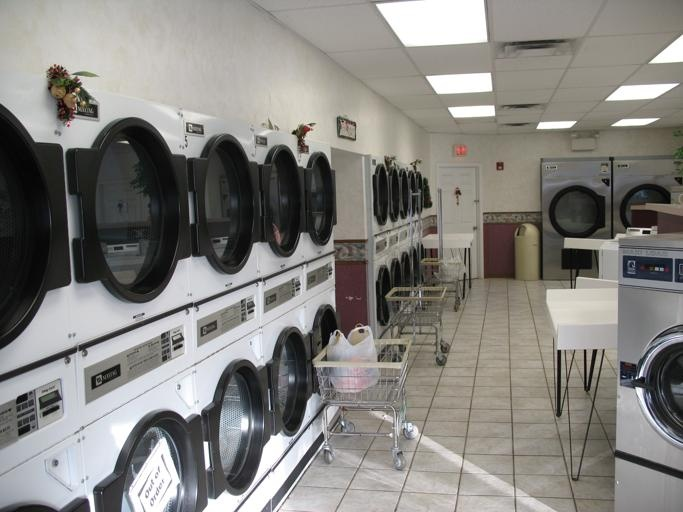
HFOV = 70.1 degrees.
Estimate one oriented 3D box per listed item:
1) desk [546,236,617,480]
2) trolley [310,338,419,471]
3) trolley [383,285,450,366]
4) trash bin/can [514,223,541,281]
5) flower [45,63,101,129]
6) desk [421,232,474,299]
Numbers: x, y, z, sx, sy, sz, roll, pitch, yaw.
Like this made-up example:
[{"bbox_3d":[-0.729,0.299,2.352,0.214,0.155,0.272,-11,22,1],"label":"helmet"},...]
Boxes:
[{"bbox_3d":[2.201,0.931,4.458,0.465,1.004,1.637,0,6,13],"label":"desk"},{"bbox_3d":[0.194,1.172,4.003,0.627,0.873,1.087,-2,-5,6],"label":"trolley"},{"bbox_3d":[1.009,1.003,6.495,0.551,0.792,1.040,-9,-1,17],"label":"trolley"},{"bbox_3d":[4.059,-0.072,10.642,0.546,1.197,0.313,2,8,24],"label":"trash bin/can"},{"bbox_3d":[-0.895,-0.533,1.660,0.110,0.216,0.201,-4,-2,7],"label":"flower"},{"bbox_3d":[2.015,0.437,9.446,1.016,1.573,1.542,-1,7,14],"label":"desk"}]
